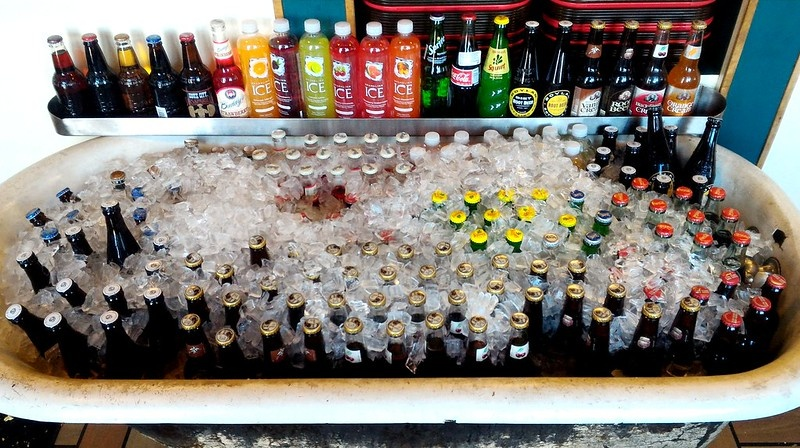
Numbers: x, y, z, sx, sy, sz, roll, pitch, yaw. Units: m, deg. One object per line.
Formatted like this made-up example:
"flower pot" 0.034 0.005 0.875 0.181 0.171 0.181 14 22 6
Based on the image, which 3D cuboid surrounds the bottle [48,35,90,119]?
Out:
"bottle" -1.603 -0.708 2.722 0.161 0.365 0.216 -8 37 -8
